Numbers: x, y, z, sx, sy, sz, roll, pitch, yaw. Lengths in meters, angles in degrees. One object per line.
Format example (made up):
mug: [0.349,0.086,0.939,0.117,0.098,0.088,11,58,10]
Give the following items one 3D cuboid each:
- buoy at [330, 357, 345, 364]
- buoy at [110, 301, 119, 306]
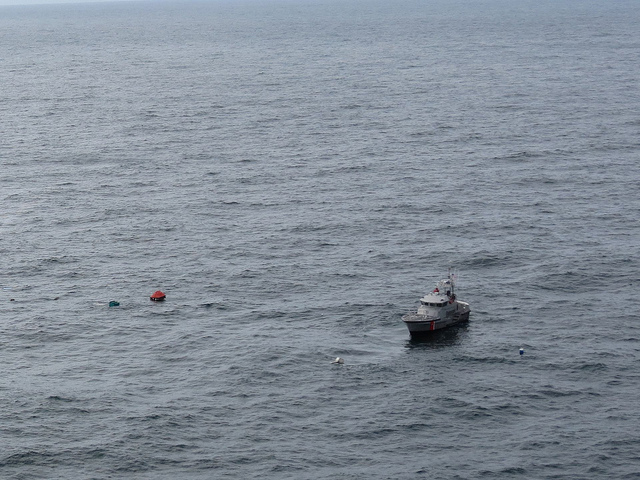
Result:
buoy: [1.575,17.221,250.235,1.456,0.436,1.276,5,27,18]
buoy: [-32.174,9.541,261.439,1.307,0.452,1.290,-3,26,3]
